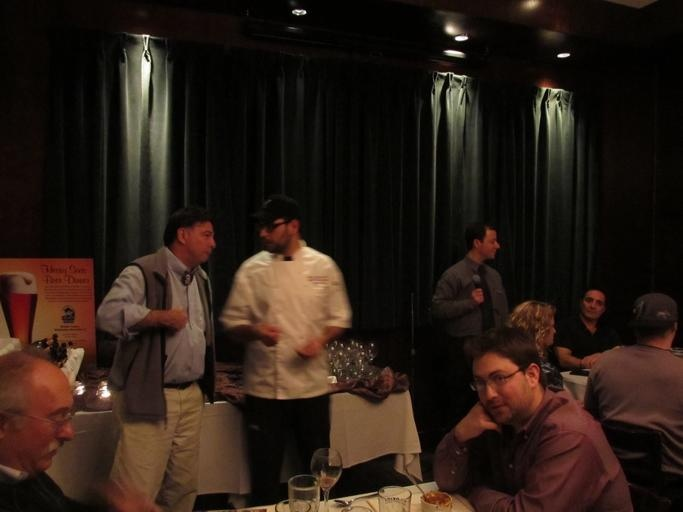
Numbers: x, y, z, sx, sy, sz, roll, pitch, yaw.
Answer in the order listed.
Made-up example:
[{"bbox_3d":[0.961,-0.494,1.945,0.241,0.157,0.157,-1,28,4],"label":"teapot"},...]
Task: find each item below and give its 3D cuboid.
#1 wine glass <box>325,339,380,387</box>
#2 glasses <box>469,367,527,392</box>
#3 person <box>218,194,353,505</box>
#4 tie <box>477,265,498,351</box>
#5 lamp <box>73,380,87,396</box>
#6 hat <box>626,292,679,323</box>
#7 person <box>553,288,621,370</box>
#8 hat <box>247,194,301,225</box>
[{"bbox_3d":[0.039,0.669,4.016,0.276,0.129,0.281,-1,19,-31],"label":"wine glass"},{"bbox_3d":[0.714,0.571,2.714,0.241,0.127,0.107,1,2,20],"label":"glasses"},{"bbox_3d":[-0.337,0.587,3.502,0.753,1.871,0.266,0,2,-7],"label":"person"},{"bbox_3d":[1.177,0.339,4.814,0.106,0.613,0.083,-7,24,12],"label":"tie"},{"bbox_3d":[-1.443,0.731,3.247,0.068,0.091,0.094,7,-12,-24],"label":"lamp"},{"bbox_3d":[2.005,0.329,3.790,0.306,0.228,0.429,1,0,26],"label":"hat"},{"bbox_3d":[1.989,0.694,4.748,0.453,0.883,0.426,13,-10,-26],"label":"person"},{"bbox_3d":[-0.386,-0.261,3.485,0.254,0.152,0.170,5,-2,-18],"label":"hat"}]
